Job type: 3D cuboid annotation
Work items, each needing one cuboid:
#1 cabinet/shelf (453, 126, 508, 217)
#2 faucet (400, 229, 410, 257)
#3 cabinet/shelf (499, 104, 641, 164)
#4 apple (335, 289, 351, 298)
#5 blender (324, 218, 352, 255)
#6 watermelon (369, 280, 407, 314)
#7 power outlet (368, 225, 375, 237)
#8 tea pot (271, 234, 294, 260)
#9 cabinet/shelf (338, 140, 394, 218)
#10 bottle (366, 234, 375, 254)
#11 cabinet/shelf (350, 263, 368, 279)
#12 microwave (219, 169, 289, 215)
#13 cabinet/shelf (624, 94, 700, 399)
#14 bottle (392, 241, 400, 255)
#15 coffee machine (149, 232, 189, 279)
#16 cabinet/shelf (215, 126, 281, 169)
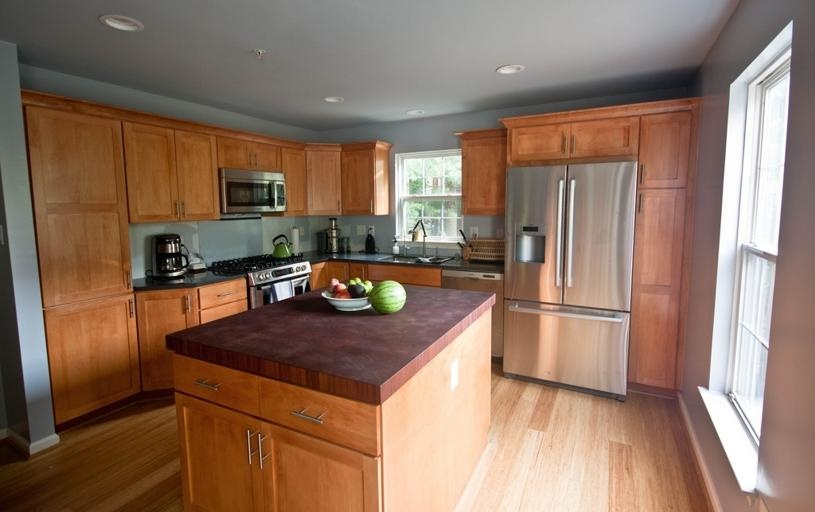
[{"bbox_3d":[1.043,-0.956,6.141,0.704,0.922,0.471,6,10,39],"label":"cabinet/shelf"},{"bbox_3d":[-0.045,-0.176,6.957,0.154,0.294,0.186,2,9,18],"label":"faucet"},{"bbox_3d":[1.672,-1.185,5.361,1.347,0.429,0.310,2,2,27],"label":"cabinet/shelf"},{"bbox_3d":[-0.506,0.293,4.069,0.076,0.067,0.072,2,13,24],"label":"apple"},{"bbox_3d":[-0.993,-0.293,7.261,0.339,0.480,0.314,4,10,29],"label":"blender"},{"bbox_3d":[-0.127,0.320,4.089,0.311,0.232,0.233,-7,22,1],"label":"watermelon"},{"bbox_3d":[-0.497,-0.348,7.182,0.125,0.155,0.113,1,-2,5],"label":"power outlet"},{"bbox_3d":[-1.590,-0.106,6.567,0.377,0.304,0.282,1,6,33],"label":"tea pot"},{"bbox_3d":[-0.544,-1.012,6.840,0.674,0.924,0.281,-2,9,-3],"label":"cabinet/shelf"},{"bbox_3d":[-0.508,-0.174,7.145,0.145,0.253,0.137,-1,9,0],"label":"bottle"},{"bbox_3d":[-0.611,0.184,6.486,0.292,0.214,0.084,6,11,41],"label":"cabinet/shelf"},{"bbox_3d":[-1.856,-0.758,6.238,0.794,0.431,0.366,-5,6,-38],"label":"microwave"},{"bbox_3d":[2.435,-0.088,5.035,0.494,2.730,0.218,3,10,23],"label":"cabinet/shelf"},{"bbox_3d":[-0.152,-0.116,6.946,0.084,0.179,0.146,-1,8,1],"label":"bottle"},{"bbox_3d":[-2.490,-0.018,5.574,0.446,0.445,0.400,-8,11,-41],"label":"coffee machine"},{"bbox_3d":[-1.887,-1.184,6.168,0.222,0.413,0.888,1,4,38],"label":"cabinet/shelf"}]
